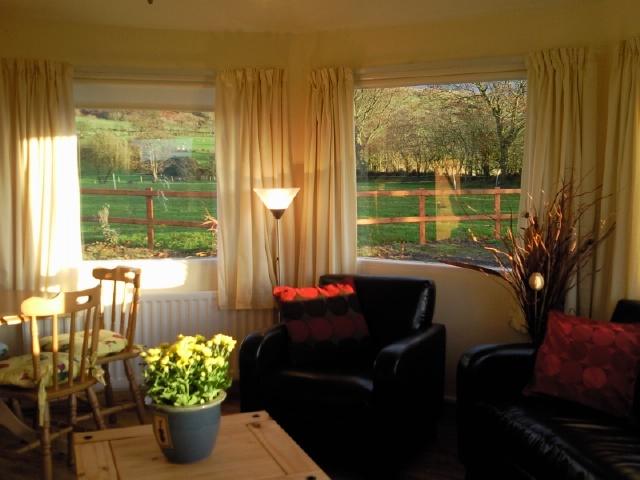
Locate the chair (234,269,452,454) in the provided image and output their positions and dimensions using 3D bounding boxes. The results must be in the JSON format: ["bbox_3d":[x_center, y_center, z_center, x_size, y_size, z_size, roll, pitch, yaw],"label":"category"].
[{"bbox_3d":[0.202,0.860,3.443,1.175,1.122,1.151,0,-2,36],"label":"chair"}]

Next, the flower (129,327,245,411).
[{"bbox_3d":[-0.654,0.647,2.343,0.539,0.384,0.431,0,-5,-18],"label":"flower"}]

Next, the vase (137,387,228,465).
[{"bbox_3d":[-0.622,0.874,2.329,0.354,0.268,0.354,-5,-3,-1],"label":"vase"}]
